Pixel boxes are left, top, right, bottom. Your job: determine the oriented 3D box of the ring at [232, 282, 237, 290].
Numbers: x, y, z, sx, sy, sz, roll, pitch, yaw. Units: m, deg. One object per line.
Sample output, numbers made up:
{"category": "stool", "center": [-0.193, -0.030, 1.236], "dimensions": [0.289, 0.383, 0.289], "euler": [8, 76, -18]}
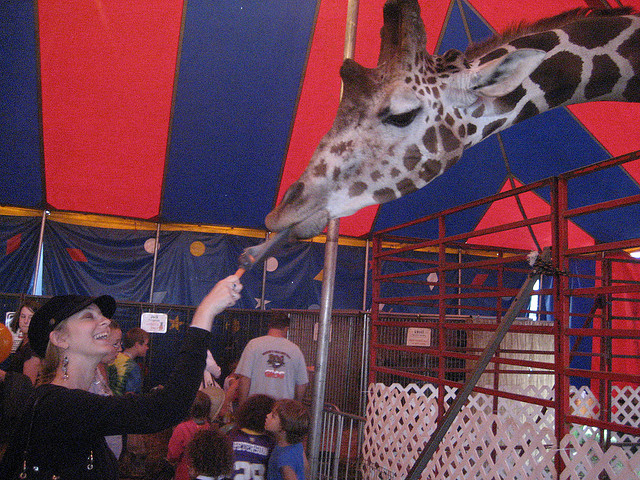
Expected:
{"category": "ring", "center": [-0.691, 0.379, 5.355], "dimensions": [0.041, 0.051, 0.007], "euler": [15, -11, -39]}
